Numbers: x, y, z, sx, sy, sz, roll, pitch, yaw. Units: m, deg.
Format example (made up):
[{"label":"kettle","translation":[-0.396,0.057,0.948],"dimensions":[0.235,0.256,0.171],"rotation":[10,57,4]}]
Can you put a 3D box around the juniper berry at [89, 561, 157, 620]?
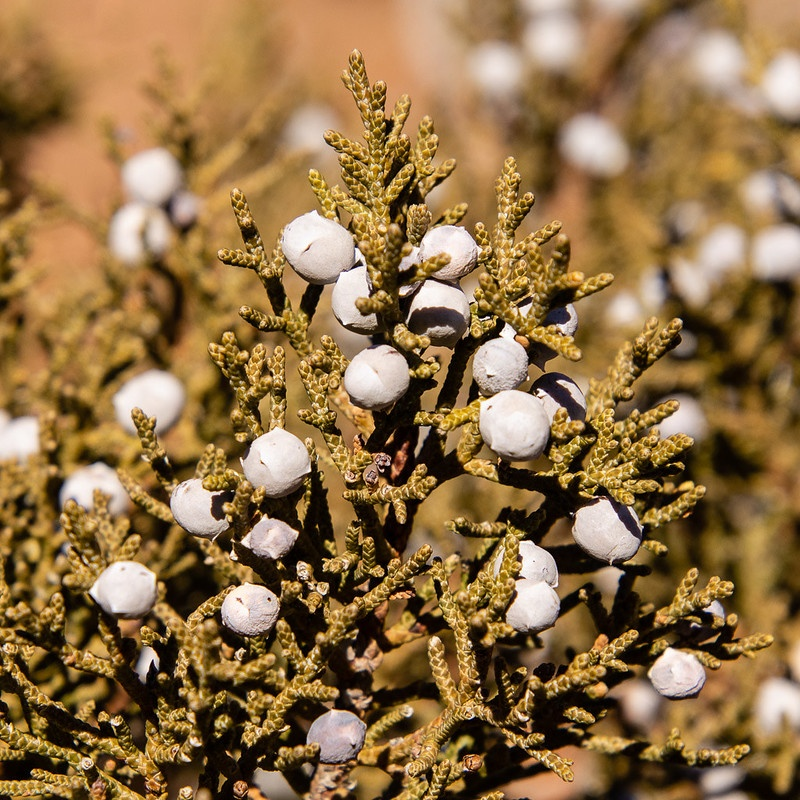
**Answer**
[{"label":"juniper berry","translation":[-0.647,0.439,3.004],"dimensions":[0.155,0.127,0.094],"rotation":[2,-31,-14]}]

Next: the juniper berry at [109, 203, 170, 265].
[{"label":"juniper berry","translation":[-0.831,-0.534,4.090],"dimensions":[0.192,0.201,0.069],"rotation":[4,-7,-28]}]

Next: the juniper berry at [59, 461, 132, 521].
[{"label":"juniper berry","translation":[-0.886,0.249,3.713],"dimensions":[0.158,0.157,0.193],"rotation":[4,13,0]}]
